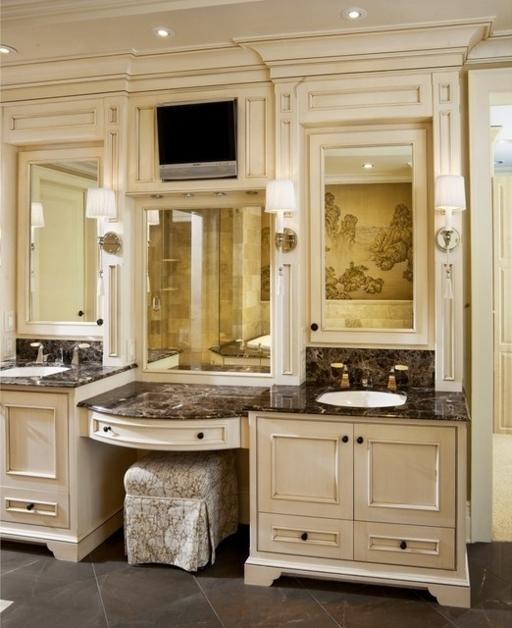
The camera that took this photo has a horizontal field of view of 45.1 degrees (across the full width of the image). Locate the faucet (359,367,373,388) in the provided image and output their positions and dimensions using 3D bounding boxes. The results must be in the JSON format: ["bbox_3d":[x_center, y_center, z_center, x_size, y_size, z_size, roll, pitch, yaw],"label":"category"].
[{"bbox_3d":[0.583,0.340,3.284,0.038,0.093,0.063,7,-9,-37],"label":"faucet"}]

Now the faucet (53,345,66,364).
[{"bbox_3d":[-1.213,0.255,3.763,0.062,0.099,0.123,-2,6,-16],"label":"faucet"}]

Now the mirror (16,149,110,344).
[{"bbox_3d":[-1.223,-0.432,3.791,0.604,1.170,0.117,1,6,20],"label":"mirror"}]

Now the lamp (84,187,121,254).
[{"bbox_3d":[-0.876,-0.528,3.524,0.187,0.391,0.188,-2,6,-12],"label":"lamp"}]

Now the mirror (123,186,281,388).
[{"bbox_3d":[-0.284,-0.165,3.534,1.308,1.470,0.076,0,2,13],"label":"mirror"}]

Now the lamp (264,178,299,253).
[{"bbox_3d":[0.131,-0.514,3.230,0.150,0.387,0.252,0,6,5],"label":"lamp"}]

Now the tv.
[{"bbox_3d":[-0.311,-0.951,3.341,0.536,0.404,0.066,1,3,18],"label":"tv"}]

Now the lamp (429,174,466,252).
[{"bbox_3d":[0.955,-0.487,3.052,0.137,0.379,0.205,1,6,16],"label":"lamp"}]
